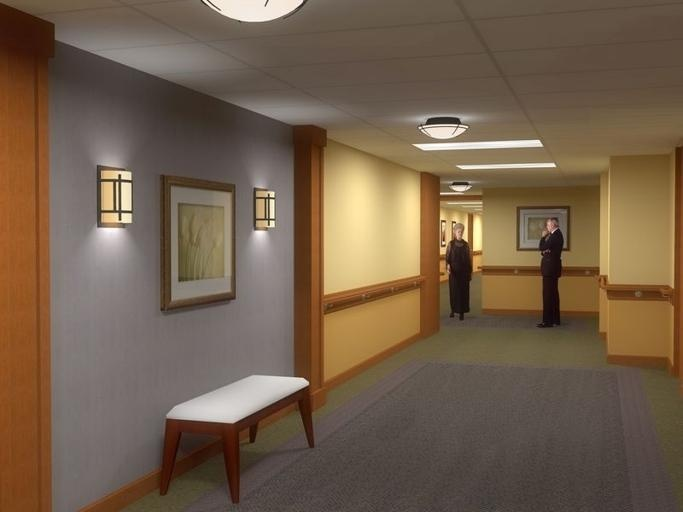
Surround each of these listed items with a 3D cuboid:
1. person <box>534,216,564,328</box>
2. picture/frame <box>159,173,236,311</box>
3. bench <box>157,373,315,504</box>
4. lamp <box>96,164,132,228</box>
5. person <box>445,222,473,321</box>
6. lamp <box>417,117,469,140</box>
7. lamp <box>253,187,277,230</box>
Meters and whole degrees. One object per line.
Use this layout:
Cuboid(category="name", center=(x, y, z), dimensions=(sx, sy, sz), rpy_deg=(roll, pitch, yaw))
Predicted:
Cuboid(category="person", center=(5.047, 0.404, 11.441), dimensions=(0.500, 2.611, 0.715), rpy_deg=(1, 2, 35))
Cuboid(category="picture/frame", center=(-1.320, -0.124, 4.455), dimensions=(0.091, 1.191, 0.970), rpy_deg=(1, 2, 23))
Cuboid(category="bench", center=(-0.978, 1.246, 4.116), dimensions=(0.681, 0.629, 1.334), rpy_deg=(1, 3, 20))
Cuboid(category="lamp", center=(-1.681, -0.444, 3.521), dimensions=(0.232, 0.454, 0.141), rpy_deg=(-1, 2, -33))
Cuboid(category="person", center=(3.160, 0.395, 12.692), dimensions=(0.618, 2.529, 1.122), rpy_deg=(0, 1, 15))
Cuboid(category="lamp", center=(1.205, -1.534, 5.581), dimensions=(0.539, 0.178, 0.408), rpy_deg=(1, 2, 13))
Cuboid(category="lamp", center=(-0.842, -0.538, 5.369), dimensions=(0.177, 0.467, 0.308), rpy_deg=(0, 2, 19))
